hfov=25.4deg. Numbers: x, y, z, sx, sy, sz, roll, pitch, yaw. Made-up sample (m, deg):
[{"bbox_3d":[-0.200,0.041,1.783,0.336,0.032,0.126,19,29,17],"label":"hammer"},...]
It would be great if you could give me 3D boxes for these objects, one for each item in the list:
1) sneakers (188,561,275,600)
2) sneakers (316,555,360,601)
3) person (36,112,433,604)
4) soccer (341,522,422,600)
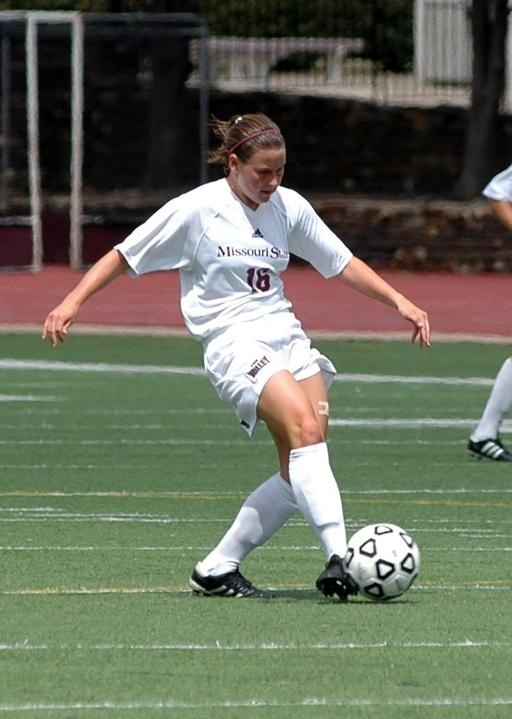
[{"bbox_3d":[-0.081,0.698,3.562,0.265,0.088,0.095,5,-2,-10],"label":"sneakers"},{"bbox_3d":[0.255,0.631,3.322,0.120,0.108,0.149,9,15,35],"label":"sneakers"},{"bbox_3d":[0.000,0.005,3.632,0.956,1.548,0.848,7,15,19],"label":"person"},{"bbox_3d":[0.395,0.577,3.382,0.255,0.226,0.227,-2,18,19],"label":"soccer"}]
